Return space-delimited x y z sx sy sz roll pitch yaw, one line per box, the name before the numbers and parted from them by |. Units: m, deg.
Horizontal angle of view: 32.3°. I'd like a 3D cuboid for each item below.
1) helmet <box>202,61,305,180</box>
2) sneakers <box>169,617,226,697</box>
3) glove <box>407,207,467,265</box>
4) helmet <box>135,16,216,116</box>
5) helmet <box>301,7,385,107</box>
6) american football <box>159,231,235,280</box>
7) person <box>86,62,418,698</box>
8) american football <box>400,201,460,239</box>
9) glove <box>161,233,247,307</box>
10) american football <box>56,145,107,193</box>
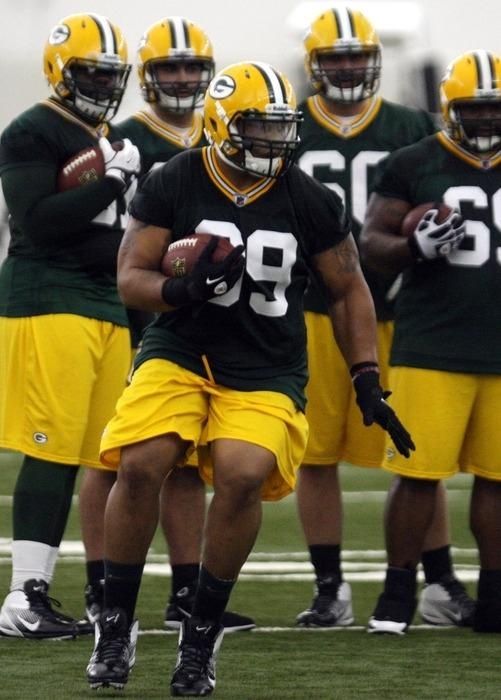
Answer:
helmet | 0.009 -0.556 2.062 0.260 0.248 0.305 -14 33 -30
sneakers | -0.120 0.692 1.974 0.106 0.156 0.172 1 -9 0
glove | 0.612 -0.356 2.681 0.149 0.147 0.185 23 4 -21
helmet | -0.292 -1.082 3.270 0.330 0.324 0.399 -2 18 -9
helmet | 0.277 -1.111 3.250 0.319 0.308 0.387 -3 29 -3
american football | -0.141 -0.221 2.039 0.176 0.090 0.095 -11 -7 43
person | -0.038 0.042 2.160 0.471 1.491 0.594 -7 -12 39
american football | 0.564 -0.422 2.772 0.138 0.043 0.101 -24 -40 30
glove | -0.112 -0.187 1.977 0.219 0.104 0.158 -23 12 6
american football | -0.531 -0.568 2.788 0.166 0.119 0.073 -35 -35 13
